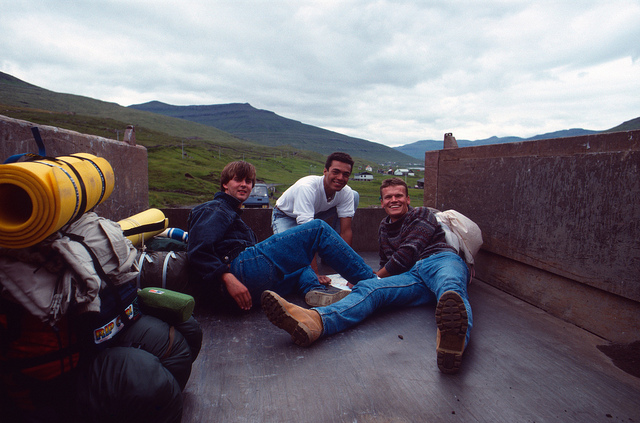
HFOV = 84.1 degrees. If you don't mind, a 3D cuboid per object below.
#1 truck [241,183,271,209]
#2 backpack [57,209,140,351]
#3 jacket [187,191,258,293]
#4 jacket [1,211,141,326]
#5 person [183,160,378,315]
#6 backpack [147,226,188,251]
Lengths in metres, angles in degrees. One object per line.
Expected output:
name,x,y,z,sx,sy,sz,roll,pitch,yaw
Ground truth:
truck,-4.068,-1.212,21.429,2.056,1.942,3.519,-1,-1,-6
backpack,-1.311,0.418,2.173,0.305,0.709,0.579,-3,1,12
jacket,-1.028,0.321,3.615,0.532,1.024,0.677,7,14,27
jacket,-1.406,0.327,2.203,0.627,0.556,0.926,1,23,-6
person,-0.444,0.208,3.938,1.988,1.471,1.130,2,-5,-14
backpack,-1.680,0.323,4.002,0.310,0.125,0.310,8,21,30
